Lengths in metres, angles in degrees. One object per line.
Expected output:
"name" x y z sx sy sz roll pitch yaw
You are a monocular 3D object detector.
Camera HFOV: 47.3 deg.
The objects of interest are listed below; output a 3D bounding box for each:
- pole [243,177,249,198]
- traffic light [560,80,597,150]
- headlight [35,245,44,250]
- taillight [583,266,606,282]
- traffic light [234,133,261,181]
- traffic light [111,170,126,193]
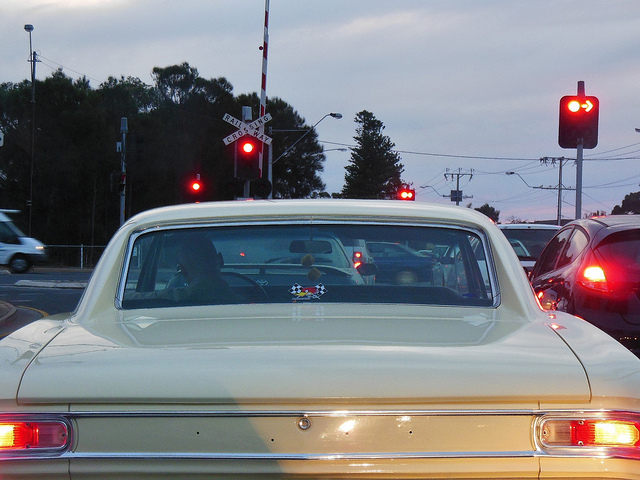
"pole" -1.724 -1.219 16.997 0.130 0.371 0.244 -3 -2 -8
"traffic light" 4.844 -2.365 13.833 0.683 1.062 0.330 -4 -2 19
"headlight" -11.144 0.291 29.029 0.146 0.131 0.541 -3 -3 6
"taillight" 2.525 0.316 6.754 0.067 0.117 0.242 -2 -3 -24
"traffic light" -1.672 -1.923 16.668 0.563 1.041 0.266 -3 -2 -4
"traffic light" -9.478 -2.796 34.189 0.473 1.043 1.836 -3 -3 -10
